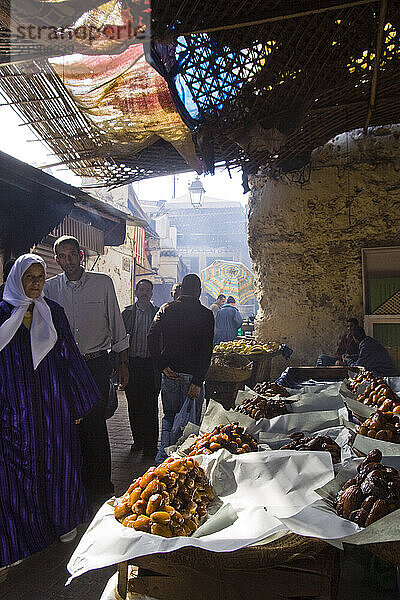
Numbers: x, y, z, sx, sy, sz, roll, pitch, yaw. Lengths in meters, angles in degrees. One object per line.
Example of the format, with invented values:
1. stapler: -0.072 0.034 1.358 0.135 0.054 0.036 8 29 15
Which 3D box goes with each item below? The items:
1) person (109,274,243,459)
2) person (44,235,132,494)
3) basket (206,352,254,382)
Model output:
1. person: -0.187 0.481 3.569 0.825 1.337 0.859 4 6 8
2. person: -0.966 0.589 3.368 0.843 2.165 0.723 -5 5 -22
3. basket: 0.378 0.740 4.926 0.592 0.320 0.520 1 3 17
